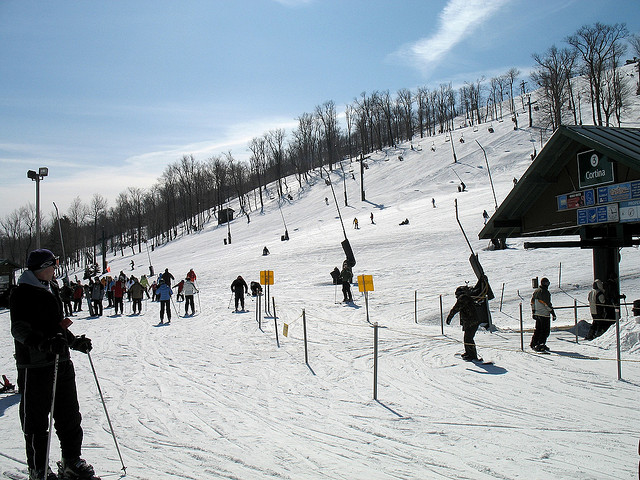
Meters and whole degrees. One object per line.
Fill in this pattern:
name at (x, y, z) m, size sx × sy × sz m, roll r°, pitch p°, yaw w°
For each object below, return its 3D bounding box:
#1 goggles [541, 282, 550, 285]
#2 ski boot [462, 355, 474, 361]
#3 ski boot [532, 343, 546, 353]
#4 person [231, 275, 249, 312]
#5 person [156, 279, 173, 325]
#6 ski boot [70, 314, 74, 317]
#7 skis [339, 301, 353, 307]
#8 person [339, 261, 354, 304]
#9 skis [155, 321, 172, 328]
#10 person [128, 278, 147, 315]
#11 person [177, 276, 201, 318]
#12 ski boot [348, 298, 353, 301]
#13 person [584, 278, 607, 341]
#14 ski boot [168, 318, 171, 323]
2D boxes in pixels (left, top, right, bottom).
goggles at (6.549, 1.262, 16.979) m, size 0.185 × 0.068 × 0.174 m, roll 0°, pitch 6°, yaw 11°
ski boot at (4.035, 3.226, 15.928) m, size 0.298 × 0.142 × 0.097 m, roll 2°, pitch 6°, yaw 31°
ski boot at (6.207, 3.081, 16.600) m, size 0.393 × 0.201 × 0.231 m, roll 3°, pitch 7°, yaw 38°
person at (-3.706, 2.376, 26.833) m, size 0.664 × 1.624 × 3.024 m, roll -2°, pitch 6°, yaw -7°
person at (-6.402, 2.569, 24.055) m, size 0.512 × 1.629 × 1.869 m, roll -3°, pitch 6°, yaw -16°
ski boot at (-11.899, 3.593, 27.886) m, size 0.158 × 0.169 × 0.163 m, roll 2°, pitch 0°, yaw 34°
skis at (1.146, 3.000, 27.329) m, size 0.523 × 0.171 × 0.207 m, roll -16°, pitch -40°, yaw 42°
person at (1.254, 2.076, 27.522) m, size 0.625 × 1.801 × 1.283 m, roll -1°, pitch 5°, yaw 3°
skis at (-6.147, 3.376, 23.039) m, size 0.195 × 0.293 × 0.658 m, roll 2°, pitch -14°, yaw 42°
person at (-8.755, 2.805, 27.846) m, size 0.578 × 1.515 × 1.619 m, roll -3°, pitch 6°, yaw -18°
person at (-6.566, 2.896, 29.090) m, size 1.363 × 2.566 × 0.920 m, roll -1°, pitch 25°, yaw -3°
ski boot at (1.412, 2.810, 27.467) m, size 0.231 × 0.125 × 0.110 m, roll -4°, pitch 6°, yaw -24°
person at (8.566, 2.254, 18.136) m, size 0.616 × 1.875 × 1.144 m, roll 1°, pitch 6°, yaw 25°
ski boot at (-6.177, 3.309, 23.894) m, size 0.099 × 0.194 × 0.123 m, roll 0°, pitch 5°, yaw 28°
